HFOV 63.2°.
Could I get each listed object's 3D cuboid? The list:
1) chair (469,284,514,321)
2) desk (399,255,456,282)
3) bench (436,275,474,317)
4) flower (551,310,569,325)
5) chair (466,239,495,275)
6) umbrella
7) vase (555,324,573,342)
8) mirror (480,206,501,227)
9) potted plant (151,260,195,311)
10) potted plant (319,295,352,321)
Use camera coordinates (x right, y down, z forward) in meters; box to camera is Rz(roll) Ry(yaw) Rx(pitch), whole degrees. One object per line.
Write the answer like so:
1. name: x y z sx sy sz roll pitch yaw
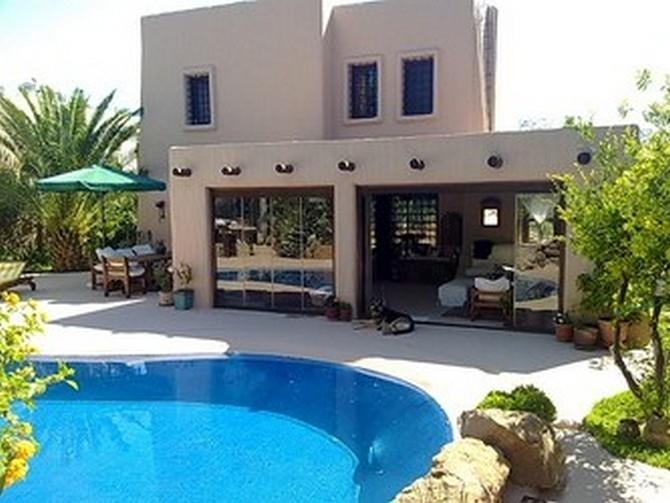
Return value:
1. chair: 4.116 1.109 14.158 0.956 0.914 0.731 3 10 24
2. desk: 3.439 0.675 20.597 2.160 0.935 0.521 3 15 24
3. bench: 3.475 1.286 15.719 0.993 0.784 1.898 0 16 13
4. flower: 5.198 1.532 12.630 0.236 0.290 0.283 0 -5 6
5. chair: 5.093 0.203 19.535 0.840 1.385 1.270 1 0 28
6. umbrella: -7.338 -2.306 18.097 2.909 2.265 3.088 8 15 20
7. vase: 5.224 1.794 12.419 0.331 0.317 0.353 4 9 25
8. mirror: 5.847 -1.319 20.471 0.659 0.938 0.091 0 1 15
9. potted plant: -4.792 1.035 16.279 1.069 1.536 0.586 5 9 34
10. potted plant: 0.053 1.518 14.491 0.694 0.739 0.496 -1 -1 23
